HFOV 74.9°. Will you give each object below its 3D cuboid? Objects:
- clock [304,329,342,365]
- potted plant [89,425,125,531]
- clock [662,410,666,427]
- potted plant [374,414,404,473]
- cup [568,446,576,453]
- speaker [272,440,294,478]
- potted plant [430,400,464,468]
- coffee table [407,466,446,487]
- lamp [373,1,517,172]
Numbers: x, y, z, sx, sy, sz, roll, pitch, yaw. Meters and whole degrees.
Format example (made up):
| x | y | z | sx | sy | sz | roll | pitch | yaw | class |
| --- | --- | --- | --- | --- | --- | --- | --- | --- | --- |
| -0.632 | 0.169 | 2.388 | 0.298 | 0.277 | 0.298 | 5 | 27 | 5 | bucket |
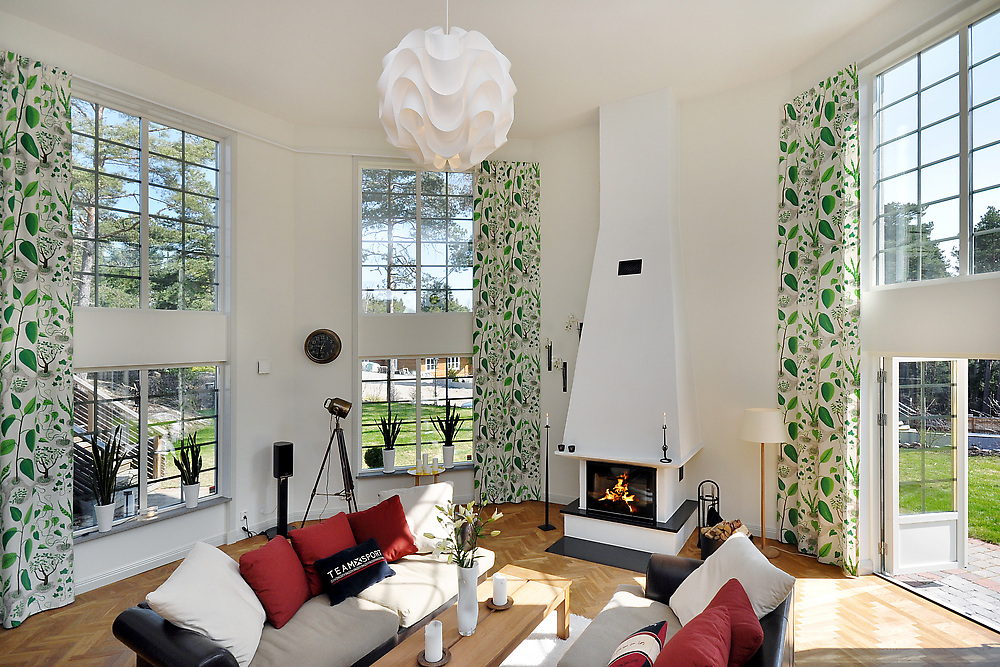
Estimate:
| x | y | z | sx | sy | sz | roll | pitch | yaw | class |
| --- | --- | --- | --- | --- | --- | --- | --- | --- | --- |
| -2.326 | 0.168 | 8.629 | 0.432 | 0.451 | 0.437 | 4 | 1 | -12 | clock |
| -4.247 | 1.573 | 7.108 | 0.328 | 1.100 | 0.242 | 1 | -3 | -40 | potted plant |
| 1.944 | 1.012 | 7.747 | 0.050 | 0.170 | 0.034 | -2 | -3 | 15 | clock |
| -1.479 | 1.470 | 8.849 | 0.307 | 0.767 | 0.228 | 0 | -3 | -20 | potted plant |
| 0.892 | 1.437 | 8.129 | 0.086 | 0.080 | 0.050 | -2 | -3 | 5 | cup |
| -2.651 | 1.541 | 7.971 | 0.198 | 0.408 | 0.077 | 0 | -3 | -29 | speaker |
| -0.722 | 1.461 | 9.083 | 0.400 | 0.809 | 0.482 | -6 | -13 | 40 | potted plant |
| -0.975 | 1.880 | 8.710 | 0.342 | 0.357 | 0.324 | 0 | -5 | -18 | coffee table |
| -0.418 | -1.969 | 5.518 | 1.061 | 1.837 | 1.071 | -2 | 5 | -9 | lamp |
